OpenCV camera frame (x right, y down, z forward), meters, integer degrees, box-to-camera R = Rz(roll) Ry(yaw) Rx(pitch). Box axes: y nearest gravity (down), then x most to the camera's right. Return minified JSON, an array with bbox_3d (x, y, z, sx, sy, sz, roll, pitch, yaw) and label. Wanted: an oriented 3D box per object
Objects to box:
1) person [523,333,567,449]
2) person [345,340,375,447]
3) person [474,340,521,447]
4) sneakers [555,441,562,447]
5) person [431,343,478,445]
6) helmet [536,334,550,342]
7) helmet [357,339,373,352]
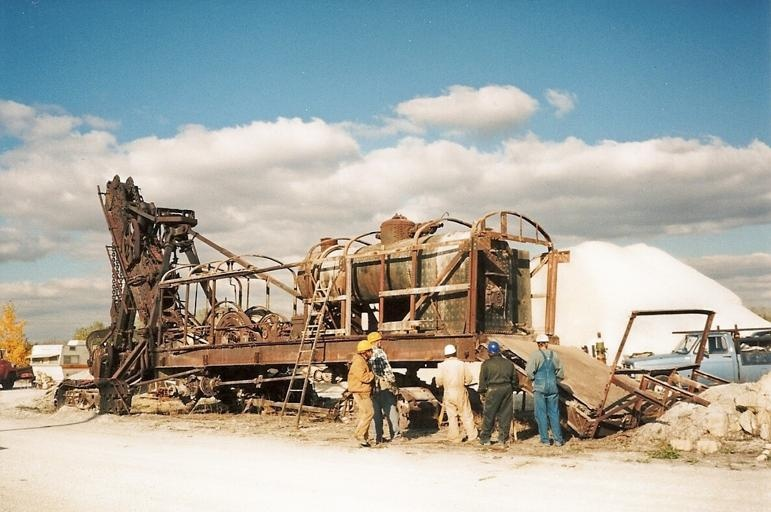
[{"bbox_3d":[4.152,3.678,17.672,0.918,2.484,0.628,-1,-8,13],"label":"person"},{"bbox_3d":[-0.676,3.758,18.480,0.711,2.858,0.725,1,-8,0],"label":"person"},{"bbox_3d":[2.994,3.651,18.065,0.976,2.754,1.130,0,-8,10],"label":"person"},{"bbox_3d":[4.421,4.849,17.335,0.186,0.112,0.115,3,-8,-10],"label":"sneakers"},{"bbox_3d":[1.920,3.798,18.724,1.118,2.651,0.741,2,-8,-6],"label":"person"},{"bbox_3d":[4.191,2.181,18.167,0.256,0.314,0.369,-5,-19,32],"label":"helmet"},{"bbox_3d":[-0.585,2.525,18.945,0.428,0.240,0.546,-7,-6,-4],"label":"helmet"}]
